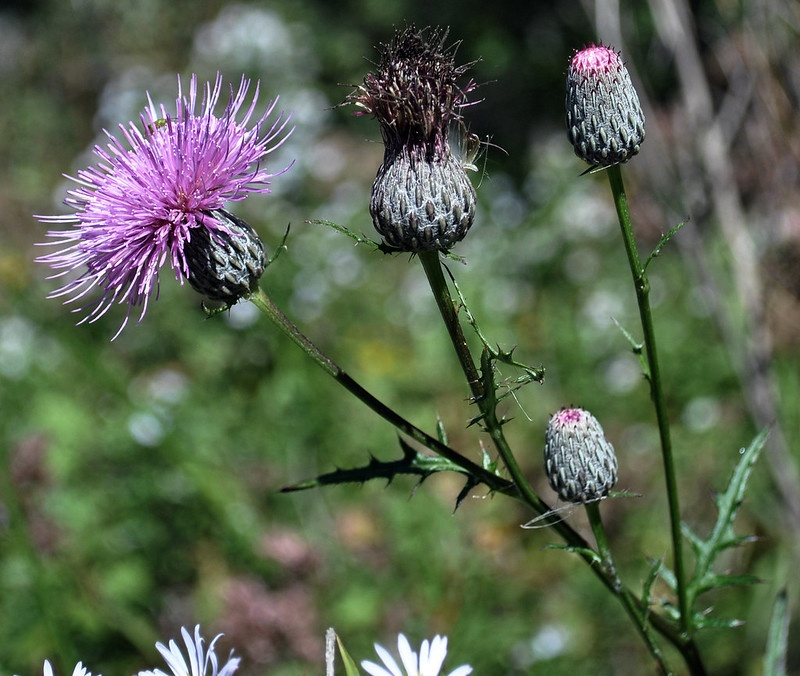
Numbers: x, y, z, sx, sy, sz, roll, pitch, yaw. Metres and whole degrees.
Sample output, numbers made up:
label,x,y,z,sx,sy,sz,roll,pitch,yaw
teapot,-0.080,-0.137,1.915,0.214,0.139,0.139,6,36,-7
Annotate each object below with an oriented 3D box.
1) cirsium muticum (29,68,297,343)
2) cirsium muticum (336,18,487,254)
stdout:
label,x,y,z,sx,sy,sz,roll,pitch,yaw
cirsium muticum,-0.609,-0.354,2.336,0.687,0.691,0.332,-21,-13,14
cirsium muticum,0.065,-0.561,2.540,0.400,0.761,0.431,-4,17,3
